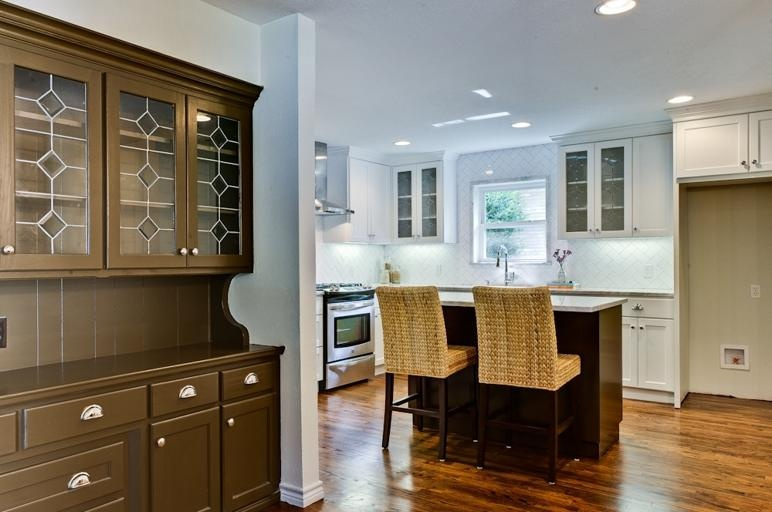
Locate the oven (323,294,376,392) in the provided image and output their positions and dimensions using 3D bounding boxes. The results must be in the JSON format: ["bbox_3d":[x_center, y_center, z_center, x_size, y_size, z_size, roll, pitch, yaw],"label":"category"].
[{"bbox_3d":[-0.585,0.972,6.470,0.756,1.077,0.834,-2,-2,38],"label":"oven"}]

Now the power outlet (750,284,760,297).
[{"bbox_3d":[3.825,0.361,5.632,0.080,0.134,0.022,3,7,38],"label":"power outlet"}]

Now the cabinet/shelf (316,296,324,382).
[{"bbox_3d":[-0.702,0.885,5.958,0.079,0.988,0.277,-1,5,-6],"label":"cabinet/shelf"}]

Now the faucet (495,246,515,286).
[{"bbox_3d":[1.543,0.107,7.036,0.256,0.491,0.302,3,6,32],"label":"faucet"}]

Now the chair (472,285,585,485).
[{"bbox_3d":[1.054,0.896,4.132,0.782,1.403,0.535,1,5,19],"label":"chair"}]

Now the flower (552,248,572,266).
[{"bbox_3d":[2.149,0.005,6.678,0.219,0.209,0.127,4,7,44],"label":"flower"}]

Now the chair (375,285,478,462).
[{"bbox_3d":[0.347,0.889,4.508,0.724,1.364,0.610,2,6,28],"label":"chair"}]

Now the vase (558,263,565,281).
[{"bbox_3d":[2.164,0.193,6.668,0.080,0.190,0.101,1,5,15],"label":"vase"}]

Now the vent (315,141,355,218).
[{"bbox_3d":[-0.624,-1.065,7.163,0.422,0.870,0.484,6,6,1],"label":"vent"}]

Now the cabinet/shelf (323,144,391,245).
[{"bbox_3d":[-0.404,-0.809,7.033,0.454,1.096,1.207,-3,-5,33],"label":"cabinet/shelf"}]

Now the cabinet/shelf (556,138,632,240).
[{"bbox_3d":[2.377,-0.757,6.171,0.769,1.073,0.219,1,6,20],"label":"cabinet/shelf"}]
